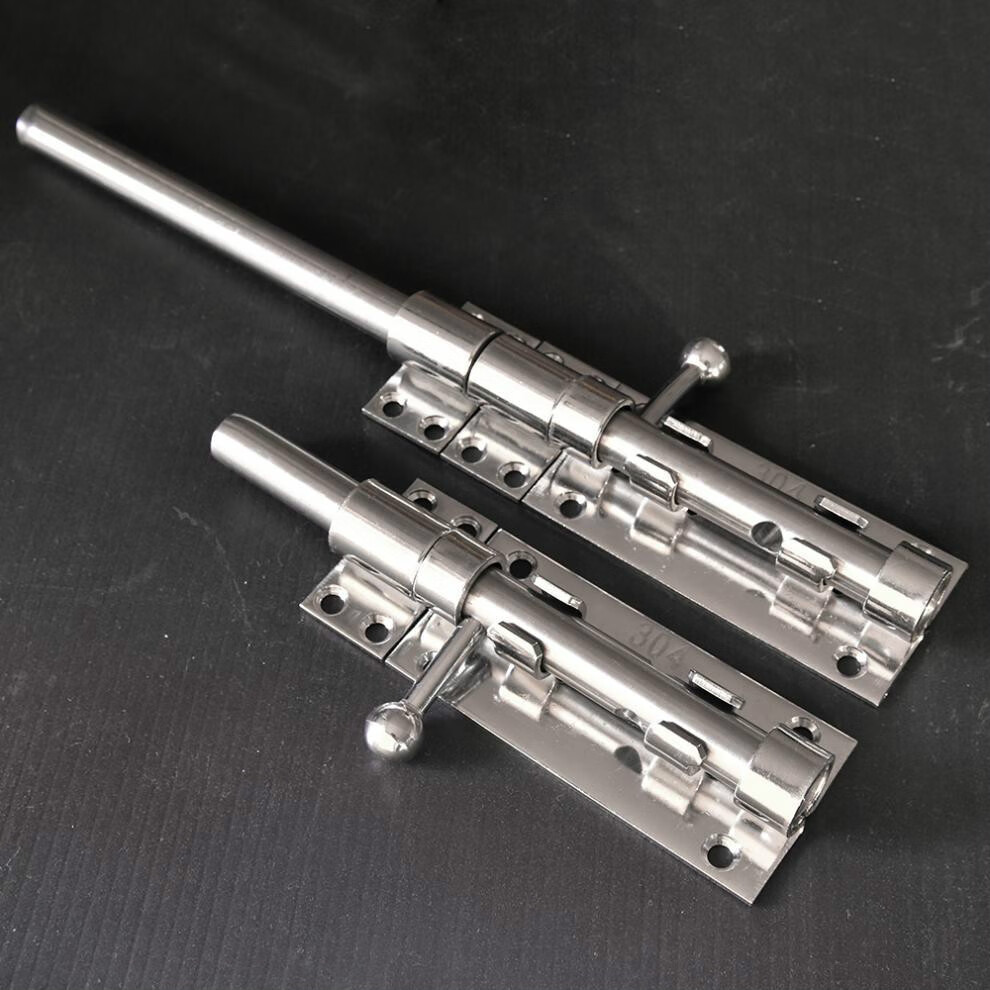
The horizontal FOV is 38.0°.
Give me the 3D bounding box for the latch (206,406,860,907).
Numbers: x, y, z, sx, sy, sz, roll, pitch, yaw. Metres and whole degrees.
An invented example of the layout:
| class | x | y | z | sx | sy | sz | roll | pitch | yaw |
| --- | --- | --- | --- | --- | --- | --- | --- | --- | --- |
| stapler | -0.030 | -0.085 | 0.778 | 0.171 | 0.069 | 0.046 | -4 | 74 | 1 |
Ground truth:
| class | x | y | z | sx | sy | sz | roll | pitch | yaw |
| --- | --- | --- | --- | --- | --- | --- | --- | --- | --- |
| latch | 0.034 | 0.157 | 1.429 | 0.646 | 0.101 | 0.307 | 34 | 67 | 15 |
